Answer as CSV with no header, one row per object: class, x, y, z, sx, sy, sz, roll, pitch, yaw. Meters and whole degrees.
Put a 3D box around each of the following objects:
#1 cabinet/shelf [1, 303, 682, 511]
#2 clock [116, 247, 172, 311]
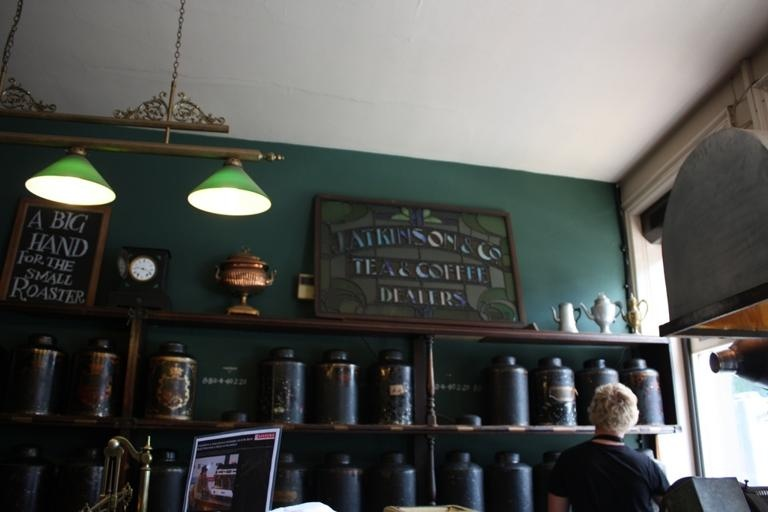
cabinet/shelf,-0.375,1.021,3.937,4.269,1.290,0.480,2,-20,-10
clock,-1.556,0.159,3.838,0.372,0.424,0.234,2,-22,-11
